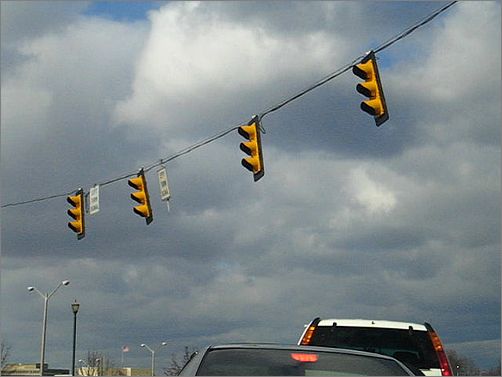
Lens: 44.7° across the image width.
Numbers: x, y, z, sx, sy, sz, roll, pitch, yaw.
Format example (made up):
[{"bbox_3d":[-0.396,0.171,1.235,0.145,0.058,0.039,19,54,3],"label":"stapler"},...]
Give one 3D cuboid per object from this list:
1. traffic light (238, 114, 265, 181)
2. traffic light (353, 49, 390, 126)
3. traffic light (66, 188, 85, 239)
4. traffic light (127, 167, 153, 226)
[{"bbox_3d":[0.012,-0.912,13.414,0.495,1.554,0.629,-7,-13,0],"label":"traffic light"},{"bbox_3d":[2.298,-1.911,11.785,0.505,1.320,0.485,-9,4,32],"label":"traffic light"},{"bbox_3d":[-5.363,0.749,18.575,0.502,1.429,0.309,-3,2,-31],"label":"traffic light"},{"bbox_3d":[-2.995,0.143,16.428,0.507,1.630,0.969,-4,-13,-12],"label":"traffic light"}]
